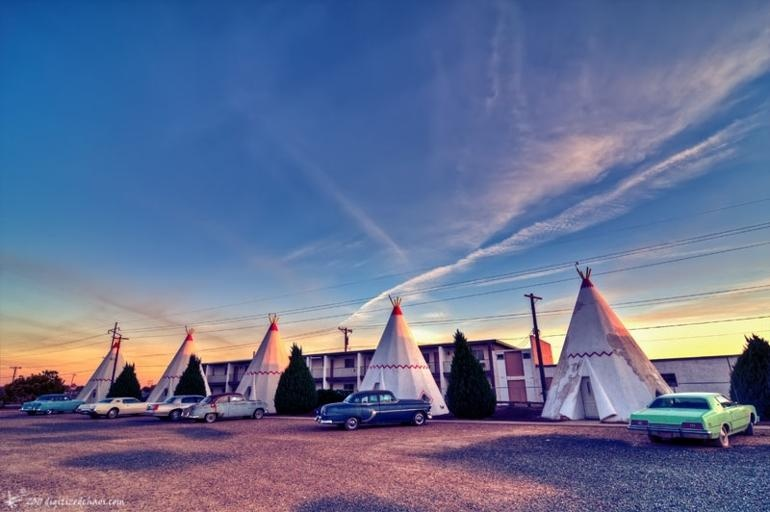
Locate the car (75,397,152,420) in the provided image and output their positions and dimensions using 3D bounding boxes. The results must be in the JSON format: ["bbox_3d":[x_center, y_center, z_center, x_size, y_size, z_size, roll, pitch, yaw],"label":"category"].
[{"bbox_3d":[-15.744,8.776,29.381,2.985,1.288,1.236,19,-27,-35],"label":"car"}]

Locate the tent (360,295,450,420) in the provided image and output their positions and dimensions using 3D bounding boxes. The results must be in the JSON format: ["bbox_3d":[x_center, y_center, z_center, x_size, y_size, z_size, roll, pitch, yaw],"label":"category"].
[{"bbox_3d":[1.300,6.940,31.418,6.848,7.486,7.299,-5,-28,5],"label":"tent"}]

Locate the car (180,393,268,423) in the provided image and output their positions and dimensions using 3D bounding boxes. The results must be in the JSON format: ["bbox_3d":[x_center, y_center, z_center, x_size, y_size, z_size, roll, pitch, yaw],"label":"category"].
[{"bbox_3d":[-8.146,7.747,25.820,1.176,1.552,3.903,-17,-29,40],"label":"car"}]

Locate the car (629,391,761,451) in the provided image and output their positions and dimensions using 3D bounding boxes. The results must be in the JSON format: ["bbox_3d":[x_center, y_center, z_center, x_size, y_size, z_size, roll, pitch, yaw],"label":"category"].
[{"bbox_3d":[9.931,5.110,15.885,3.969,1.637,1.540,7,-22,-12],"label":"car"}]

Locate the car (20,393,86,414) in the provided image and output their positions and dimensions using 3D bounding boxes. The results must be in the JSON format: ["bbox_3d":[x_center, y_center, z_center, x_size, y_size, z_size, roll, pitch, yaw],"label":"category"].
[{"bbox_3d":[-22.579,9.981,34.159,1.782,1.653,3.394,-4,-23,15],"label":"car"}]

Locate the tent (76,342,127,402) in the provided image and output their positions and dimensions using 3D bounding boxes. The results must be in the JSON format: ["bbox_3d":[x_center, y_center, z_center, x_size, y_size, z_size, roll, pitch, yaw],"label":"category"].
[{"bbox_3d":[-23.677,9.550,42.575,2.461,5.311,3.777,13,-23,-25],"label":"tent"}]

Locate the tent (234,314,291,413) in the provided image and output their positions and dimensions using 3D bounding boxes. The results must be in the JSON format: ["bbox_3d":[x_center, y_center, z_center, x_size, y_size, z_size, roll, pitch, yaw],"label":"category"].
[{"bbox_3d":[-8.177,7.263,34.356,2.782,6.538,2.223,-1,-21,9],"label":"tent"}]
